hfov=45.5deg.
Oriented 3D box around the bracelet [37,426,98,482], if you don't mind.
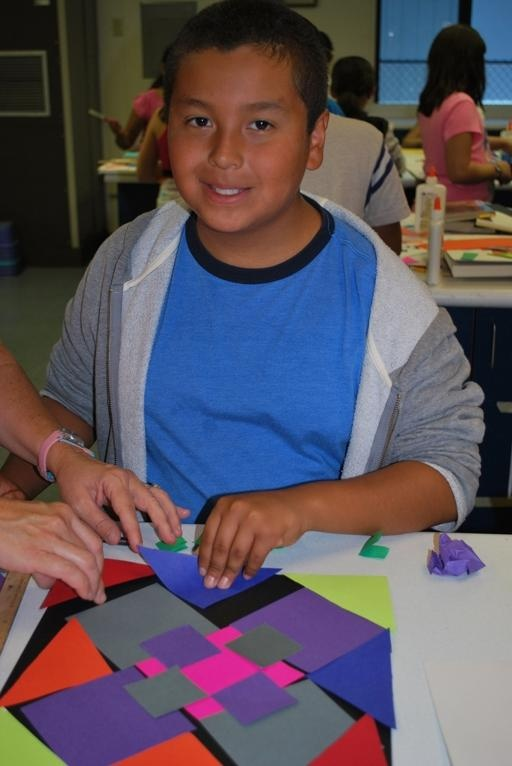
[{"bbox_3d":[-0.255,0.102,0.815,0.081,0.060,0.029,19,-11,-24],"label":"bracelet"}]
